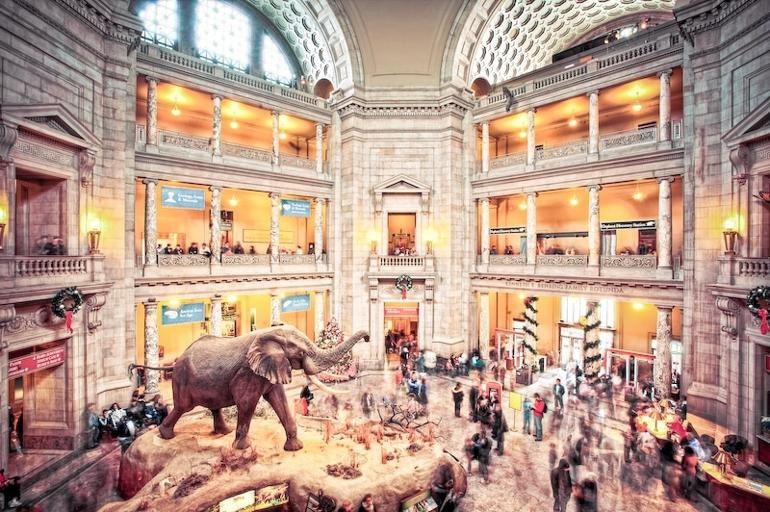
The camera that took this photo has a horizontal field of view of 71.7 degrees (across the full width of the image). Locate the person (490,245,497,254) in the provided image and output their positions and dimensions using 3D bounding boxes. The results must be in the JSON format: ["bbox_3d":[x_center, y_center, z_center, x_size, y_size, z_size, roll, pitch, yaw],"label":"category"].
[{"bbox_3d":[6.692,-0.375,32.887,0.380,0.527,0.893,-4,-2,1],"label":"person"}]

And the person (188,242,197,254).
[{"bbox_3d":[-9.938,-0.376,27.611,0.392,0.725,0.536,-5,-8,16],"label":"person"}]

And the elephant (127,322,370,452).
[{"bbox_3d":[-4.741,4.792,19.304,7.802,4.600,2.483,1,7,0],"label":"elephant"}]
